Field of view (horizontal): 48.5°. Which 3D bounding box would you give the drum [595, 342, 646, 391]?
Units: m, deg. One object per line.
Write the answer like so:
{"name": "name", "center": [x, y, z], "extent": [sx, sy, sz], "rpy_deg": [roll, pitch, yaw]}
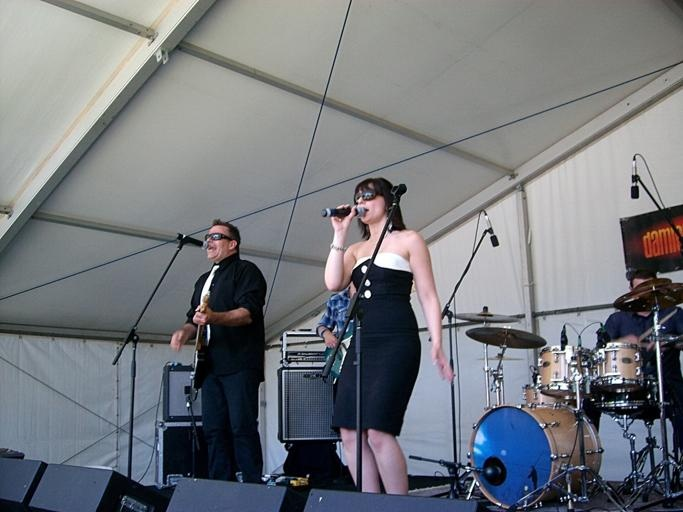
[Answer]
{"name": "drum", "center": [2.149, 0.869, 5.902], "extent": [0.344, 0.353, 0.359], "rpy_deg": [-1, -16, 9]}

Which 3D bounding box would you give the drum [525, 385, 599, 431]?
{"name": "drum", "center": [1.764, 1.224, 6.094], "extent": [0.266, 0.427, 0.372], "rpy_deg": [-15, 1, -38]}

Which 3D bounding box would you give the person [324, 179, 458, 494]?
{"name": "person", "center": [0.264, 0.442, 4.486], "extent": [0.738, 1.899, 0.565], "rpy_deg": [-2, -19, 8]}

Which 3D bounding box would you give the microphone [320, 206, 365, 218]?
{"name": "microphone", "center": [0.000, -0.268, 4.557], "extent": [0.337, 0.088, 0.091], "rpy_deg": [-3, 5, -36]}

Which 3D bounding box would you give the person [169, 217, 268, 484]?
{"name": "person", "center": [-0.875, 0.652, 5.638], "extent": [0.733, 1.962, 0.613], "rpy_deg": [15, -24, -36]}

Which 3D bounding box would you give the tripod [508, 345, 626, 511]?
{"name": "tripod", "center": [1.788, 1.333, 5.856], "extent": [0.725, 1.265, 0.662], "rpy_deg": [12, -22, -28]}

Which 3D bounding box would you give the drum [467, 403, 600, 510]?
{"name": "drum", "center": [1.454, 1.407, 6.128], "extent": [0.748, 1.054, 0.982], "rpy_deg": [6, -8, -39]}

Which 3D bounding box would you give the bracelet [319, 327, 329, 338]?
{"name": "bracelet", "center": [-0.187, 0.697, 6.905], "extent": [0.064, 0.095, 0.032], "rpy_deg": [-4, -7, 30]}
